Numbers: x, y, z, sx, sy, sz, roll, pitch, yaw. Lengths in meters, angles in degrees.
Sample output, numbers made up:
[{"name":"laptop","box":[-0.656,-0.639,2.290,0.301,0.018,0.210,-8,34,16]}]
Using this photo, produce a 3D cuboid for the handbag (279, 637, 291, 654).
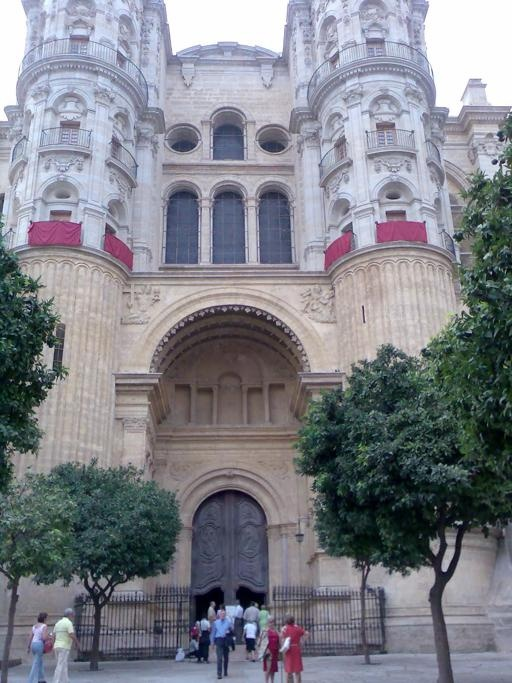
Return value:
[{"name":"handbag","box":[0.365,3.913,8.168,0.076,0.203,0.153,20,-9,-15]}]
